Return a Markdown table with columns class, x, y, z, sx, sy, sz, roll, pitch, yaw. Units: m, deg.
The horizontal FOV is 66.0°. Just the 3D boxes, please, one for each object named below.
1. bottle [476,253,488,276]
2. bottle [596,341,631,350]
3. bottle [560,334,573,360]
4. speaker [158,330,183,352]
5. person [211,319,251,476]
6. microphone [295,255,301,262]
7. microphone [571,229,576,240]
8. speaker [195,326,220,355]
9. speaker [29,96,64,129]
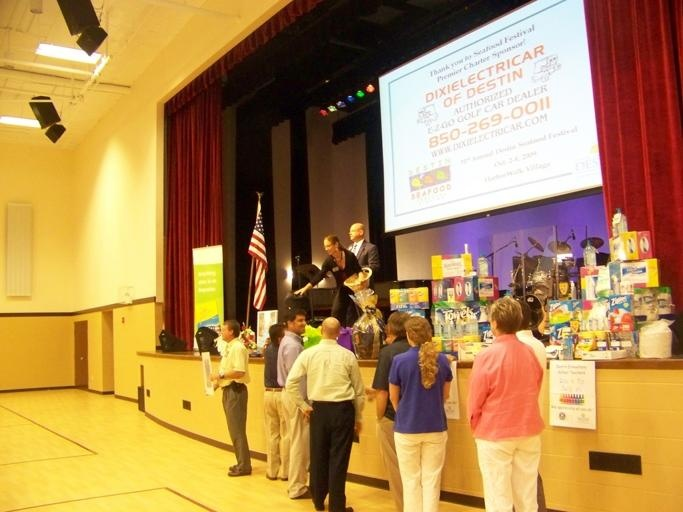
| class | x | y | z | sx | sy | sz | roll | pitch | yaw |
| --- | --- | --- | --- | --- | --- | --- | --- | --- | --- |
| bottle | 1.469 | 0.110 | 5.466 | 0.109 | 0.224 | 0.383 | -3 | -7 | 13 |
| bottle | 2.283 | 0.749 | 4.385 | 0.250 | 0.076 | 0.067 | -3 | -7 | 8 |
| bottle | 1.960 | 0.791 | 4.543 | 0.106 | 0.210 | 0.051 | -4 | -7 | 21 |
| speaker | -3.315 | 1.643 | 10.042 | 0.589 | 0.384 | 0.387 | -3 | -7 | 15 |
| person | -1.329 | 1.739 | 6.378 | 0.434 | 1.902 | 0.477 | 0 | -7 | -12 |
| microphone | -0.953 | 0.055 | 11.495 | 0.143 | 0.187 | 0.148 | 5 | -8 | -15 |
| microphone | 3.610 | -0.339 | 8.178 | 0.055 | 0.198 | 0.074 | -4 | -6 | 19 |
| speaker | -2.327 | 1.457 | 8.939 | 0.451 | 0.473 | 0.375 | 4 | -7 | -30 |
| speaker | -6.536 | -3.218 | 11.489 | 0.565 | 0.754 | 0.533 | 5 | -9 | -43 |
